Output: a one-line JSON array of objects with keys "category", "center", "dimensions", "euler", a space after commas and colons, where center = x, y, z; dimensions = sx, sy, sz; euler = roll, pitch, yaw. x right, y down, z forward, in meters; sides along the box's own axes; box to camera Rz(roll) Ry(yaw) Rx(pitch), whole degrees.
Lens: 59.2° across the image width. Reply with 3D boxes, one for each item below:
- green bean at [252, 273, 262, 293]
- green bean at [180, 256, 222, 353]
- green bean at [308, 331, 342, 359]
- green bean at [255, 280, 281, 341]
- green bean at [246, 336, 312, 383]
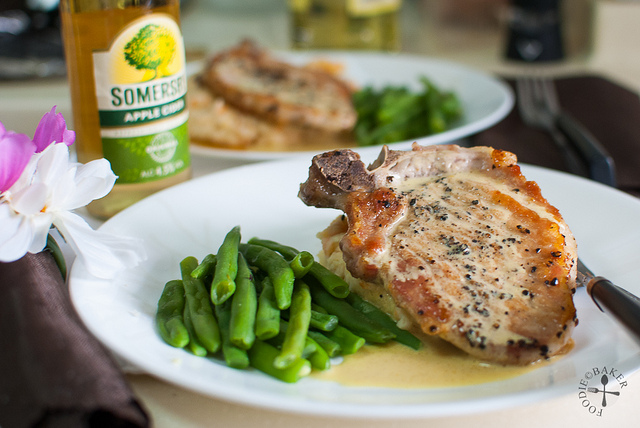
[{"category": "green bean", "center": [-0.237, 0.261, 2.129], "dimensions": [0.013, 0.038, 0.060], "euler": [-34, 58, 21]}, {"category": "green bean", "center": [-0.447, 0.320, 2.066], "dimensions": [0.083, 0.063, 0.423], "euler": [-5, 44, -25]}, {"category": "green bean", "center": [0.024, 0.454, 1.971], "dimensions": [0.052, 0.043, 0.167], "euler": [-21, 38, -34]}, {"category": "green bean", "center": [-0.191, 0.331, 2.053], "dimensions": [0.096, 0.079, 0.329], "euler": [-11, 26, -1]}, {"category": "green bean", "center": [-0.158, 0.493, 1.917], "dimensions": [0.084, 0.077, 0.275], "euler": [-42, 40, -23]}]
